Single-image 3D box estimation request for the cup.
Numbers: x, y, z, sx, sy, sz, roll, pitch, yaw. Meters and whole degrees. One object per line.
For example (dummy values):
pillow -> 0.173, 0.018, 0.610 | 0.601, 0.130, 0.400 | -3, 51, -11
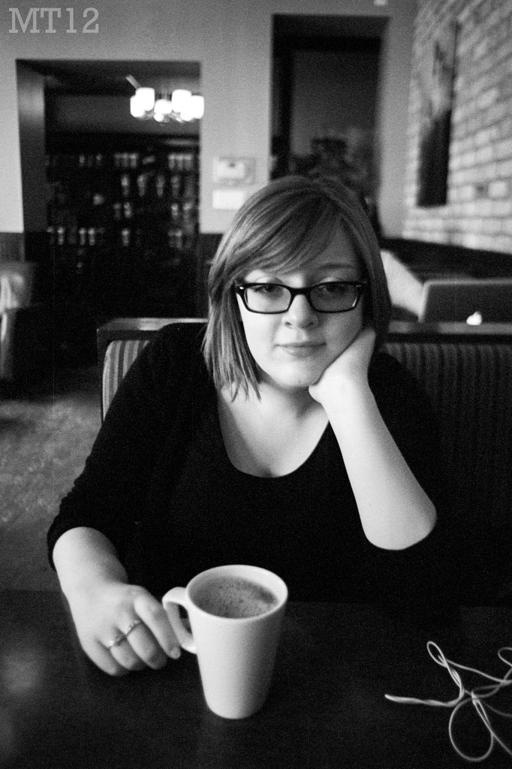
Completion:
cup -> -0.026, 0.172, 0.396 | 0.092, 0.081, 0.087 | 2, 3, 0
